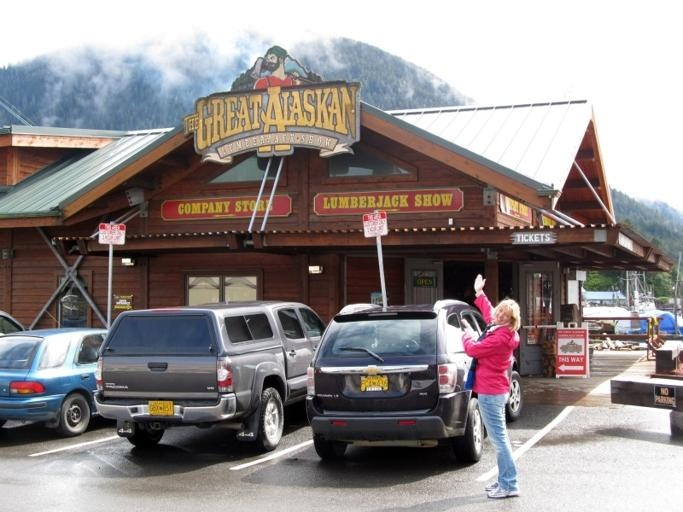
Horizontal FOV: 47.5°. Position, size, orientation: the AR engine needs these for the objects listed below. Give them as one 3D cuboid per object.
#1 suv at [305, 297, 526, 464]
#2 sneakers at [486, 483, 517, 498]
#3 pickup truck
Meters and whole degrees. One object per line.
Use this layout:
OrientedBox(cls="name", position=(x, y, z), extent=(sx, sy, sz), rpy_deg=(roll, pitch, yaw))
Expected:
OrientedBox(cls="suv", position=(0.717, 1.714, 10.875), extent=(1.728, 1.437, 3.286), rpy_deg=(-1, 0, 19))
OrientedBox(cls="sneakers", position=(2.028, 2.996, 9.918), extent=(0.410, 0.179, 0.152), rpy_deg=(4, -3, -6))
OrientedBox(cls="pickup truck", position=(-1.743, 1.787, 12.980), extent=(1.931, 1.390, 3.599), rpy_deg=(-1, 2, 20))
